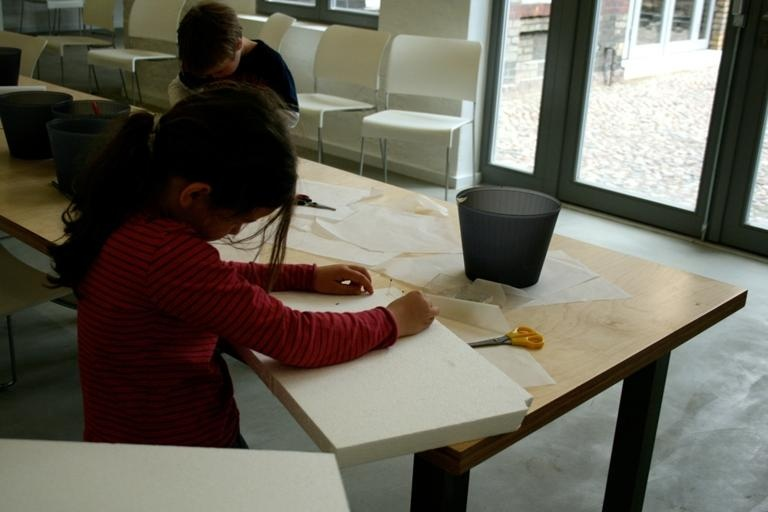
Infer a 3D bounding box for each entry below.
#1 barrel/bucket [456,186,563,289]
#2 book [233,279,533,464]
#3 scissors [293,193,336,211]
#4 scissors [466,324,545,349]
[{"bbox_3d":[0.268,-0.034,1.342,0.243,0.184,0.250,1,21,0],"label":"barrel/bucket"},{"bbox_3d":[-0.006,0.211,0.977,0.422,0.096,0.315,-4,20,-19],"label":"book"},{"bbox_3d":[-0.207,-0.157,1.636,0.150,0.030,0.044,14,43,19],"label":"scissors"},{"bbox_3d":[0.249,0.161,1.088,0.114,0.015,0.054,-10,28,-22],"label":"scissors"}]
